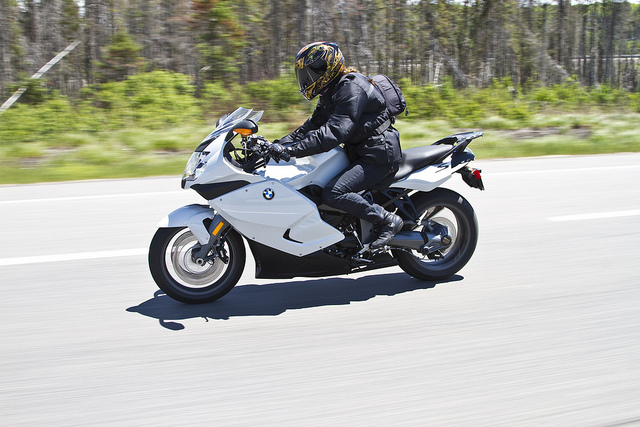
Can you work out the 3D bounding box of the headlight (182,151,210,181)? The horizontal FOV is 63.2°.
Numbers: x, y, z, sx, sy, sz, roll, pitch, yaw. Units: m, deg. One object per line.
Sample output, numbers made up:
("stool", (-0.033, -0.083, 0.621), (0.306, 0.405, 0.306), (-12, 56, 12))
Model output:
("headlight", (-1.235, -0.456, 5.120), (0.112, 0.346, 0.208), (32, 8, -49))
